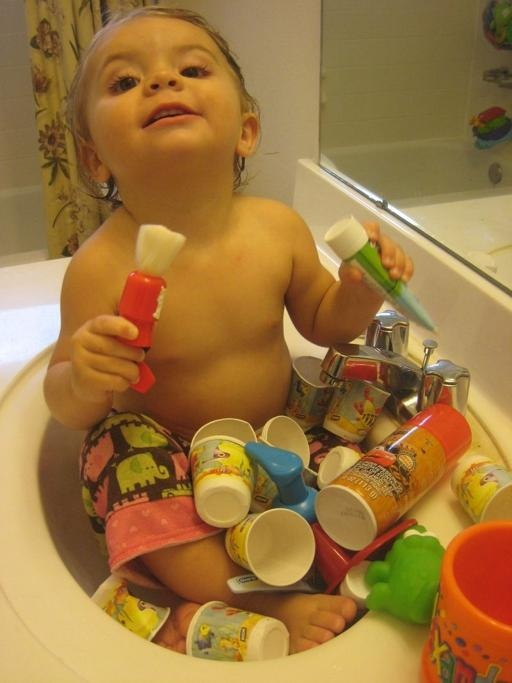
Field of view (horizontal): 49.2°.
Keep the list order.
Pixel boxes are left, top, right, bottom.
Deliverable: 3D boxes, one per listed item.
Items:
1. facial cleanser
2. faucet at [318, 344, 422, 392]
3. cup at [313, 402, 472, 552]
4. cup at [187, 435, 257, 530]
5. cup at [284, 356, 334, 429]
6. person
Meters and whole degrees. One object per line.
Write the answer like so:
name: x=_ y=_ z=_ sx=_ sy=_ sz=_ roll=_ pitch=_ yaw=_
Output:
facial cleanser: x=0.129 y=-0.077 z=0.646 sx=0.131 sy=0.118 sz=0.127 roll=-3 pitch=25 yaw=-14
faucet: x=0.158 y=0.033 z=0.753 sx=0.129 sy=0.058 sz=0.102 roll=-7 pitch=19 yaw=-28
cup: x=0.099 y=0.097 z=0.640 sx=0.232 sy=0.128 sz=0.156 roll=-15 pitch=27 yaw=-40
cup: x=-0.033 y=0.142 z=0.614 sx=0.094 sy=0.084 sz=0.077 roll=-19 pitch=31 yaw=-35
cup: x=0.073 y=0.071 z=0.825 sx=0.064 sy=0.092 sz=0.095 roll=6 pitch=32 yaw=-1
person: x=-0.007 y=0.029 z=0.722 sx=0.399 sy=0.765 sz=0.431 roll=-13 pitch=35 yaw=-23
